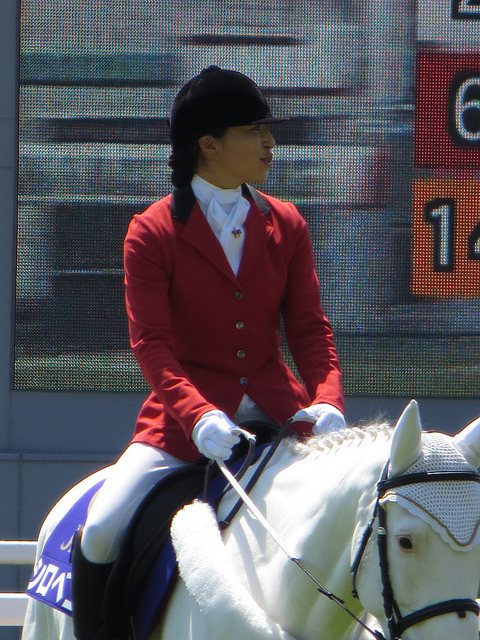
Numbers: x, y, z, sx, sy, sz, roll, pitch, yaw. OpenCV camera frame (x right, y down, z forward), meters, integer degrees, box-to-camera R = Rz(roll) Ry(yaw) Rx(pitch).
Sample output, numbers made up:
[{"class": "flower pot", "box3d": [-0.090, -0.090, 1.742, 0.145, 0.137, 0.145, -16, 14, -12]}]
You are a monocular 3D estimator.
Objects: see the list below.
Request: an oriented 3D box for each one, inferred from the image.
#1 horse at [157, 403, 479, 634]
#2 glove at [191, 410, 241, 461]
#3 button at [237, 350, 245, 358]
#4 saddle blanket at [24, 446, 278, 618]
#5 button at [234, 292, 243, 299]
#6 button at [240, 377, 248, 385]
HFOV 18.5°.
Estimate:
[{"class": "horse", "box3d": [0.204, 0.451, 3.339, 0.750, 0.535, 0.373, -1, 5, 36]}, {"class": "glove", "box3d": [-0.050, 0.255, 3.531, 0.103, 0.110, 0.168, -12, 15, -38]}, {"class": "button", "box3d": [0.007, 0.087, 3.773, 0.016, 0.016, 0.010, -27, 6, 4]}, {"class": "saddle blanket", "box3d": [-0.301, 0.516, 3.927, 0.380, 0.319, 0.625, 4, 1, 15]}, {"class": "button", "box3d": [0.000, -0.063, 3.770, 0.020, 0.017, 0.006, -5, 4, -9]}, {"class": "button", "box3d": [0.013, 0.155, 3.759, 0.017, 0.017, 0.011, -4, 4, 6]}]
